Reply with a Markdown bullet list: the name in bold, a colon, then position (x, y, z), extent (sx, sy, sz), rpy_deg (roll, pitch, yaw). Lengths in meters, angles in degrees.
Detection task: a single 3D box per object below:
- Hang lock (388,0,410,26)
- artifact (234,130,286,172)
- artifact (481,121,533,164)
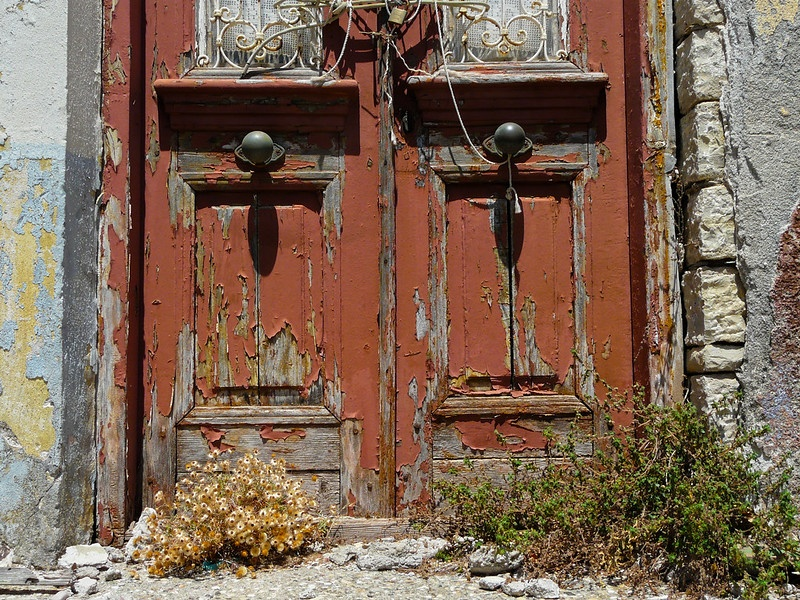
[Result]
- **Hang lock**: position (-0.019, -1.569, 7.985), extent (0.082, 0.130, 0.048), rpy_deg (17, -30, 3)
- **artifact**: position (-0.784, -0.810, 7.994), extent (0.272, 0.219, 0.231), rpy_deg (0, 4, 7)
- **artifact**: position (0.594, -0.844, 8.081), extent (0.263, 0.164, 0.318), rpy_deg (-6, -23, -9)
